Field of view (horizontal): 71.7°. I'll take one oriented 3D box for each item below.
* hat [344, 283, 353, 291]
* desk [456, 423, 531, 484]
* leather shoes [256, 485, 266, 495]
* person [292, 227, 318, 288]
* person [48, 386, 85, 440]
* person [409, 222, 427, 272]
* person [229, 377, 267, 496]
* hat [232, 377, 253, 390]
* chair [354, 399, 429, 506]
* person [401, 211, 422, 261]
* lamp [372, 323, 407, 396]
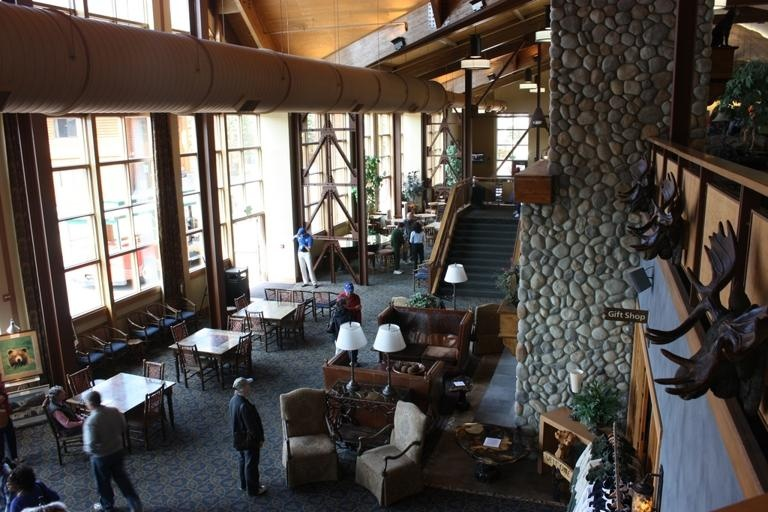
[{"bbox_3d":[-0.856,0.718,12.387,0.188,0.197,0.233,4,14,1],"label":"hat"},{"bbox_3d":[1.639,2.949,8.165,0.787,0.441,0.898,5,13,21],"label":"desk"},{"bbox_3d":[-1.853,3.503,8.012,0.054,0.102,0.154,11,19,18],"label":"leather shoes"},{"bbox_3d":[-2.529,-0.011,17.052,0.621,1.859,1.029,-5,15,-16],"label":"person"},{"bbox_3d":[-5.184,2.444,8.606,0.472,0.917,0.621,-9,17,-31],"label":"person"},{"bbox_3d":[1.081,-0.367,18.059,0.468,1.557,1.006,0,14,0],"label":"person"},{"bbox_3d":[-2.005,2.637,7.814,0.421,1.839,0.421,-5,15,-15],"label":"person"},{"bbox_3d":[-2.068,1.815,7.689,0.210,0.180,0.350,-3,14,-9],"label":"hat"},{"bbox_3d":[0.104,2.880,7.904,0.873,1.219,0.727,-9,17,-30],"label":"chair"},{"bbox_3d":[0.939,-0.646,18.945,0.702,0.665,2.110,-8,-29,1],"label":"person"},{"bbox_3d":[0.084,1.909,9.627,0.835,1.578,0.799,-2,19,1],"label":"lamp"}]
